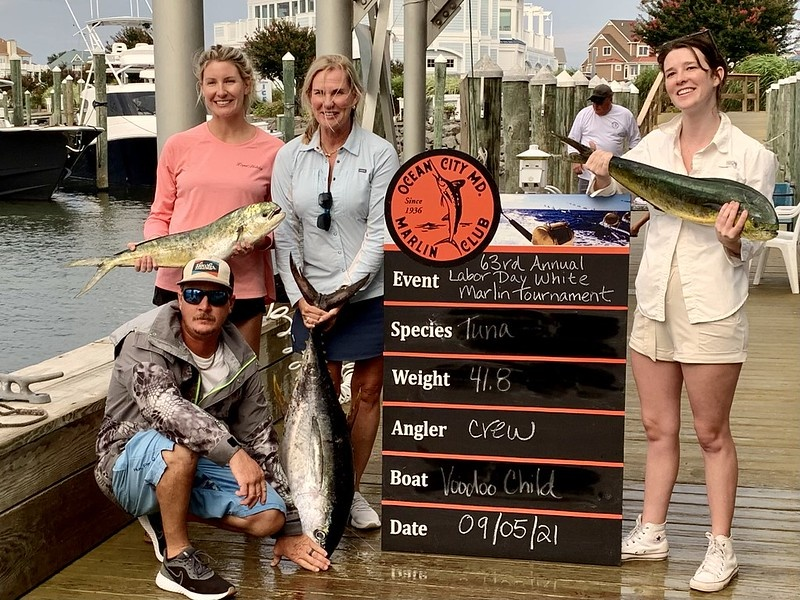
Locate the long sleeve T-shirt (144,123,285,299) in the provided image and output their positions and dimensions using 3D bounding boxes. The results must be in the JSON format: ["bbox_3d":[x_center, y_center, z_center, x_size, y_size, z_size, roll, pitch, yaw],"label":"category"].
[{"bbox_3d":[-0.852,-0.482,3.639,0.726,0.719,0.398,0,23,-26],"label":"long sleeve T-shirt"}]

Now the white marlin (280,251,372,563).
[{"bbox_3d":[-0.380,0.658,3.412,0.458,1.087,0.304,-2,15,-1],"label":"white marlin"}]

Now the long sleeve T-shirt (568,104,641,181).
[{"bbox_3d":[2.518,-1.981,9.355,0.883,0.900,0.478,2,25,16],"label":"long sleeve T-shirt"}]

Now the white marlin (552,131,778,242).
[{"bbox_3d":[1.037,-0.440,2.929,0.900,0.190,0.168,29,49,34],"label":"white marlin"}]
